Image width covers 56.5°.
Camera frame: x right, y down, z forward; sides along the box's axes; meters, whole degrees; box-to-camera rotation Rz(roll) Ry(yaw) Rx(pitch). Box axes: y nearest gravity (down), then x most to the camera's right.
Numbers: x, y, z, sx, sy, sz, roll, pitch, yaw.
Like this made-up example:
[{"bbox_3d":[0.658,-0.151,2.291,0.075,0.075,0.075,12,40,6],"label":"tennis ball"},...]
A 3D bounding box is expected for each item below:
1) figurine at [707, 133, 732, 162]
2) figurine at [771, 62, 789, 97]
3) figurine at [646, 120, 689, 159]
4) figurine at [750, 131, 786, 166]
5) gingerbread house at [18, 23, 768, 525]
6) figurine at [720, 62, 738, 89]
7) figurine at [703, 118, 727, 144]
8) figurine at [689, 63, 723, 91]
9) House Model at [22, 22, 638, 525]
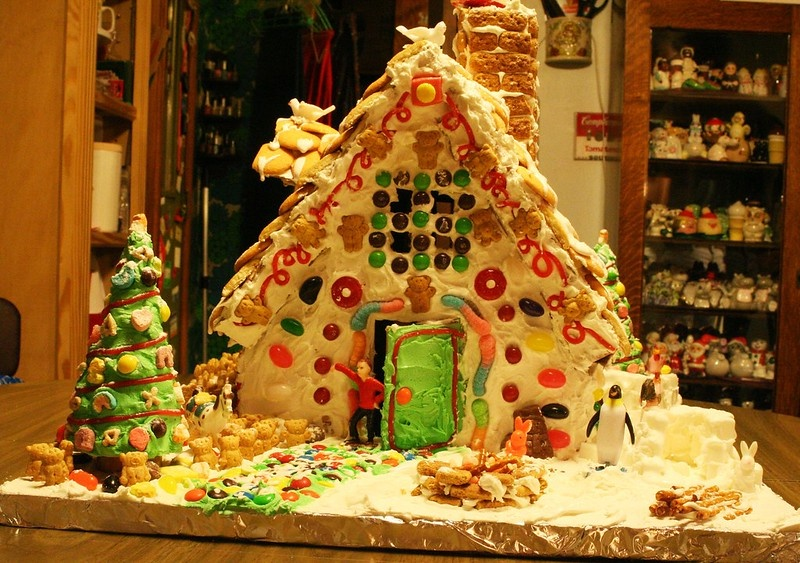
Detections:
[{"bbox_3d":[2.050,-0.877,4.813,0.178,0.174,0.149,-7,20,-8],"label":"figurine"},{"bbox_3d":[2.411,-1.281,4.747,0.026,0.223,0.096,-1,3,-43],"label":"figurine"},{"bbox_3d":[1.699,-0.895,4.838,0.256,0.244,0.083,0,-5,-2],"label":"figurine"},{"bbox_3d":[2.349,-0.848,4.748,0.188,0.202,0.202,2,-2,0],"label":"figurine"},{"bbox_3d":[0.136,0.114,3.686,2.132,1.351,2.073,1,0,4],"label":"gingerbread house"},{"bbox_3d":[2.115,-1.314,4.759,0.113,0.155,0.038,0,5,2],"label":"figurine"},{"bbox_3d":[2.010,-0.968,4.810,0.148,0.168,0.153,1,0,6],"label":"figurine"},{"bbox_3d":[1.940,-1.313,4.755,0.232,0.165,0.149,-4,13,-10],"label":"figurine"},{"bbox_3d":[0.048,0.028,3.572,1.906,1.248,1.950,1,2,3],"label":"House Model"}]
